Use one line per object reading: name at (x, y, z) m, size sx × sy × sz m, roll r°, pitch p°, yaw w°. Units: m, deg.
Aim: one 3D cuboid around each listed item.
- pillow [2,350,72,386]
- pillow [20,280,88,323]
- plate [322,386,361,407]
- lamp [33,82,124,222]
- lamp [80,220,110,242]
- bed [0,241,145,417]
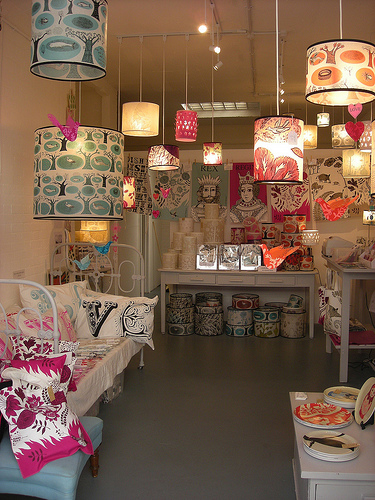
pillow at (-0.596, 0.487, 1.559) m, size 0.192 × 0.080 × 0.191 m, roll -2°, pitch -1°, yaw 2°
pillow at (-1.070, 0.438, 3.060) m, size 0.167 × 0.339 × 0.534 m, roll -33°, pitch -15°, yaw 20°
plate at (0.770, 0.740, 1.893) m, size 0.123 × 0.024 × 0.116 m, roll -1°, pitch 2°, yaw 36°
lamp at (-0.843, -0.594, 2.715) m, size 0.711 × 0.761 × 0.702 m, roll 1°, pitch -1°, yaw 7°
lamp at (-1.305, -0.249, 5.487) m, size 0.416 × 0.289 × 0.413 m, roll 2°, pitch 2°, yaw 10°
bed at (-0.865, 0.581, 2.898) m, size 0.782 × 1.276 × 1.402 m, roll 1°, pitch 1°, yaw 27°
